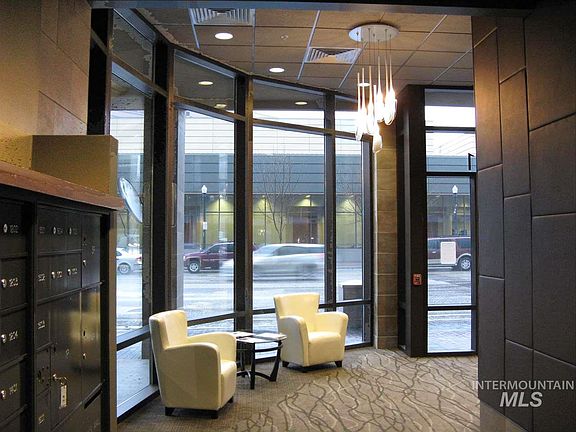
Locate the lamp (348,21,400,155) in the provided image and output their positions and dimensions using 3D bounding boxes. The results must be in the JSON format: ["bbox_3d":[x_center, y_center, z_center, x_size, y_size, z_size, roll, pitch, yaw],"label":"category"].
[{"bbox_3d":[1.206,-1.546,6.955,0.595,1.453,2.261,0,0,11],"label":"lamp"}]

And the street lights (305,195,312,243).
[{"bbox_3d":[0.380,0.042,8.067,0.203,0.763,0.067,-1,1,-38],"label":"street lights"}]

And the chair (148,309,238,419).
[{"bbox_3d":[-1.058,1.640,5.750,0.869,1.064,0.801,0,1,9],"label":"chair"}]

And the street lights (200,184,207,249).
[{"bbox_3d":[-1.169,-0.003,6.931,0.040,0.875,0.117,1,1,30],"label":"street lights"}]

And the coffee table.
[{"bbox_3d":[-0.451,1.887,6.549,0.771,0.597,0.741,13,-11,-37],"label":"coffee table"}]

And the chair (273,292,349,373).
[{"bbox_3d":[0.318,1.678,7.395,1.030,1.055,1.114,-5,-8,16],"label":"chair"}]

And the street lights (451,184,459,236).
[{"bbox_3d":[2.735,-0.109,8.087,0.152,0.813,0.069,0,1,-26],"label":"street lights"}]
